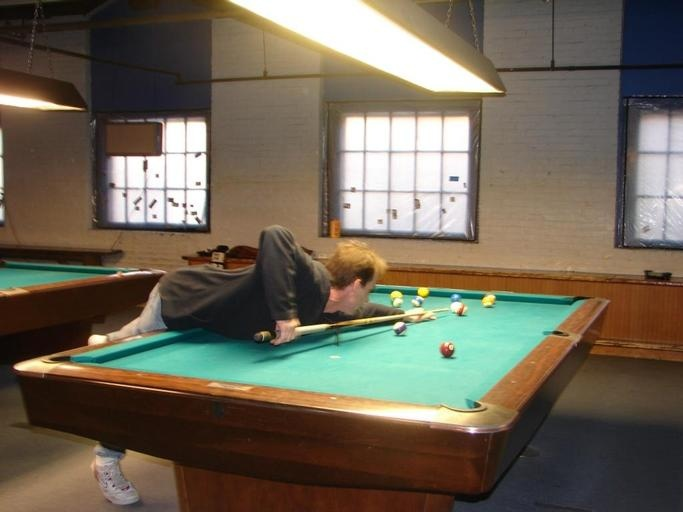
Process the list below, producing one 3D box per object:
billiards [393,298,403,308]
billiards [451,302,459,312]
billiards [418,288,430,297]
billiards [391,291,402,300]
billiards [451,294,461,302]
[{"bbox_3d":[0.370,0.299,3.681,0.056,0.052,0.056,16,5,34],"label":"billiards"},{"bbox_3d":[0.704,0.313,3.495,0.056,0.048,0.049,7,-9,20],"label":"billiards"},{"bbox_3d":[0.580,0.252,4.074,0.068,0.063,0.069,1,0,45],"label":"billiards"},{"bbox_3d":[0.371,0.258,3.817,0.054,0.038,0.052,-1,2,-5],"label":"billiards"},{"bbox_3d":[0.767,0.280,3.824,0.057,0.048,0.039,0,38,10],"label":"billiards"}]
